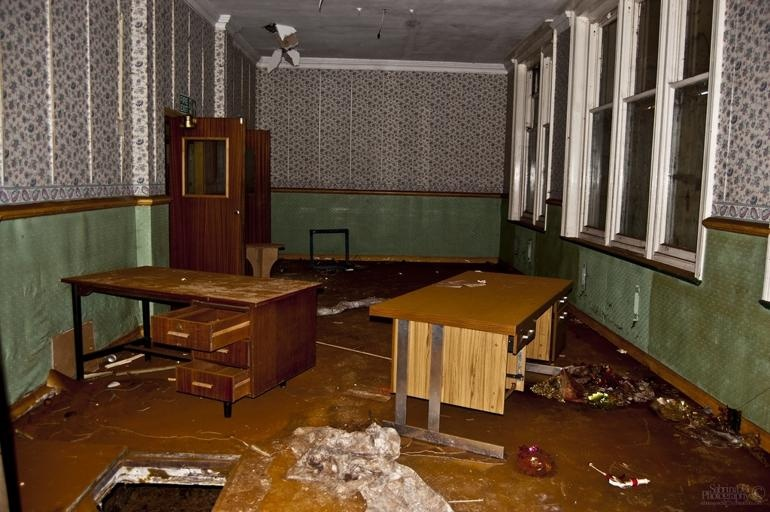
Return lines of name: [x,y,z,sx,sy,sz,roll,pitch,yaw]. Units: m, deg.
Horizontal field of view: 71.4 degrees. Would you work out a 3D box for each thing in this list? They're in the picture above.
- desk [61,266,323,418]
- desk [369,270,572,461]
desk: [-1.178,0.801,3.999,1.587,0.751,1.100,5,8,24]
desk: [0.653,0.698,3.918,0.995,0.903,1.337,5,12,28]
